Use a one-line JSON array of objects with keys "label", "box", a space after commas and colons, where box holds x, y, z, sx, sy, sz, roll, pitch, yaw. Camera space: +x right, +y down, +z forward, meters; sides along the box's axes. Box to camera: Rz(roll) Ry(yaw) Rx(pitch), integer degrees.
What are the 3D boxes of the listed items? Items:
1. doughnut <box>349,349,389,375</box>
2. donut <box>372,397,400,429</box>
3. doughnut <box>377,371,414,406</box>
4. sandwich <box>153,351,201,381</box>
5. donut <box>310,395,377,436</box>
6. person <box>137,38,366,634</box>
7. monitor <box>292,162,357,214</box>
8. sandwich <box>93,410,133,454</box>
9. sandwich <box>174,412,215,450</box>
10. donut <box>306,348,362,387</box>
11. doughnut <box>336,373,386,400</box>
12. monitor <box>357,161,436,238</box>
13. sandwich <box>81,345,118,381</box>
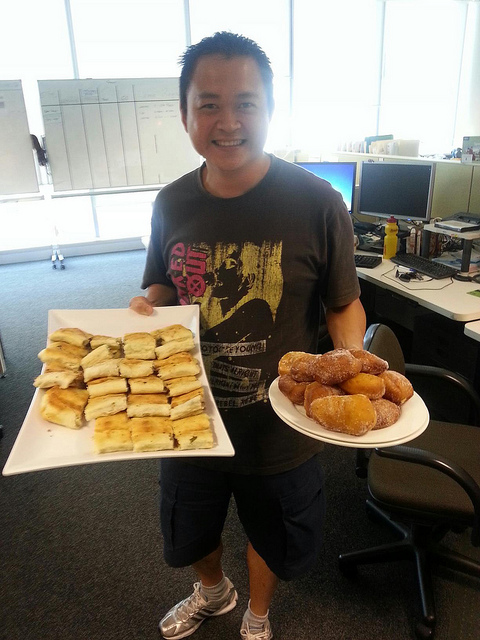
[{"label": "doughnut", "box": [0.222, 0.080, 0.753, 0.045, 0.015, 0.045, 24, 8, 1]}, {"label": "donut", "box": [0.215, 0.130, 0.640, 0.039, 0.014, 0.042, -5, 28, -2]}, {"label": "doughnut", "box": [0.252, 0.109, 0.705, 0.043, 0.033, 0.058, -2, 5, 8]}, {"label": "sandwich", "box": [-0.138, 0.104, 0.968, 0.099, 0.034, 0.094, -8, 23, -13]}, {"label": "donut", "box": [0.153, 0.139, 0.641, 0.111, 0.048, 0.064, -1, 7, 44]}, {"label": "person", "box": [0.025, 0.033, 1.017, 0.502, 1.201, 0.350, 3, 23, 15]}, {"label": "monitor", "box": [0.685, -1.024, 3.372, 0.389, 0.384, 0.239, 0, 22, 9]}, {"label": "sandwich", "box": [-0.229, 0.203, 0.797, 0.066, 0.021, 0.141, -2, 10, -19]}, {"label": "sandwich", "box": [-0.079, 0.190, 0.745, 0.040, 0.015, 0.059, -13, 25, -1]}, {"label": "donut", "box": [0.151, 0.080, 0.714, 0.081, 0.058, 0.064, -3, 22, 1]}, {"label": "doughnut", "box": [0.194, 0.100, 0.693, 0.049, 0.023, 0.039, -7, 15, -38]}, {"label": "monitor", "box": [1.087, -0.845, 3.050, 0.674, 0.502, 0.178, -4, 10, -21]}, {"label": "sandwich", "box": [-0.301, 0.096, 0.942, 0.071, 0.023, 0.072, -26, 58, -15]}]
